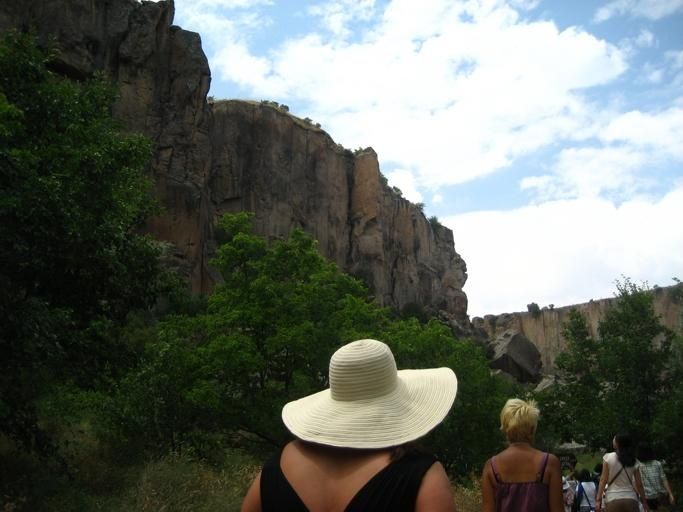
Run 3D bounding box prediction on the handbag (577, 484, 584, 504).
[{"bbox_3d":[5.889,5.911,18.014,0.118,0.387,0.255,7,-4,32],"label":"handbag"}]
